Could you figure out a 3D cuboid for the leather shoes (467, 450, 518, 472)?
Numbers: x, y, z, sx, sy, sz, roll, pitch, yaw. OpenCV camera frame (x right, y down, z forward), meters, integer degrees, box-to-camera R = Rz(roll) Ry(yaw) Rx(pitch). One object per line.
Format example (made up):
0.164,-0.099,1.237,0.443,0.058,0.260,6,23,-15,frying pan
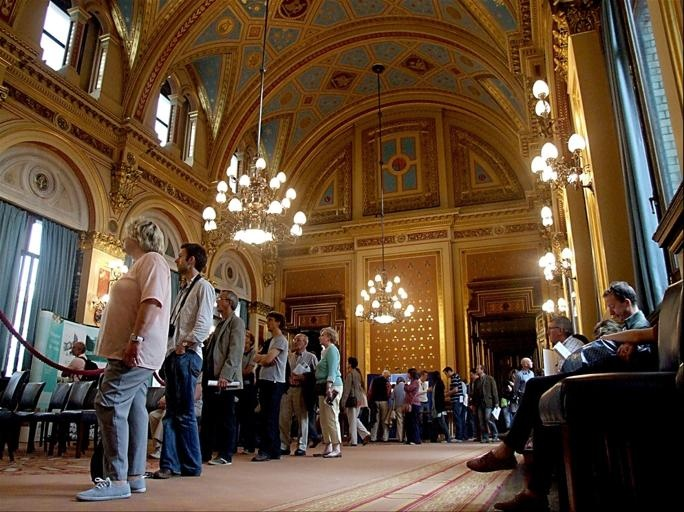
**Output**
0.903,1.251,2.820,0.281,0.122,0.185,-10,-18,22,leather shoes

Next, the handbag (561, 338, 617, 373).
1.365,0.573,2.600,0.163,0.080,0.235,-27,-7,-22,handbag

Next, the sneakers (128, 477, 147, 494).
-1.237,1.387,2.811,0.106,0.089,0.087,8,-19,-33,sneakers

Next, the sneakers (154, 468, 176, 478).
-1.307,1.587,3.417,0.059,0.063,0.138,-12,-33,34,sneakers

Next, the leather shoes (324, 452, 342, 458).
-0.114,2.439,5.706,0.205,0.103,0.073,9,-24,-15,leather shoes

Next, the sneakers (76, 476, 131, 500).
-1.309,1.308,2.584,0.273,0.130,0.117,10,-38,-13,sneakers

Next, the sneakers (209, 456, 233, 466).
-1.165,1.966,4.414,0.172,0.059,0.099,7,-50,16,sneakers

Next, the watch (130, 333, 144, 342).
-1.217,0.489,2.747,0.060,0.041,0.063,9,-12,19,watch

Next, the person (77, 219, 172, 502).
-1.325,0.576,2.906,0.426,1.701,0.425,4,-16,-22,person

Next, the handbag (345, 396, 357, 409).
0.149,2.543,8.055,0.208,0.234,0.160,1,2,22,handbag
